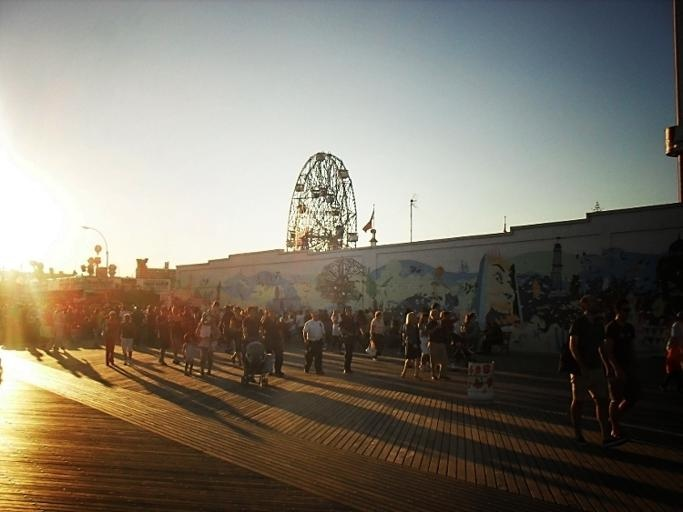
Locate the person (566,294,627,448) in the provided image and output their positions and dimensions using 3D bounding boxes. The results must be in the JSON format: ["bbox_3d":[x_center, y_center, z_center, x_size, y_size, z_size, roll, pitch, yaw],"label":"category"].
[{"bbox_3d":[4.616,2.073,9.990,0.803,2.692,1.022,0,0,28],"label":"person"}]
